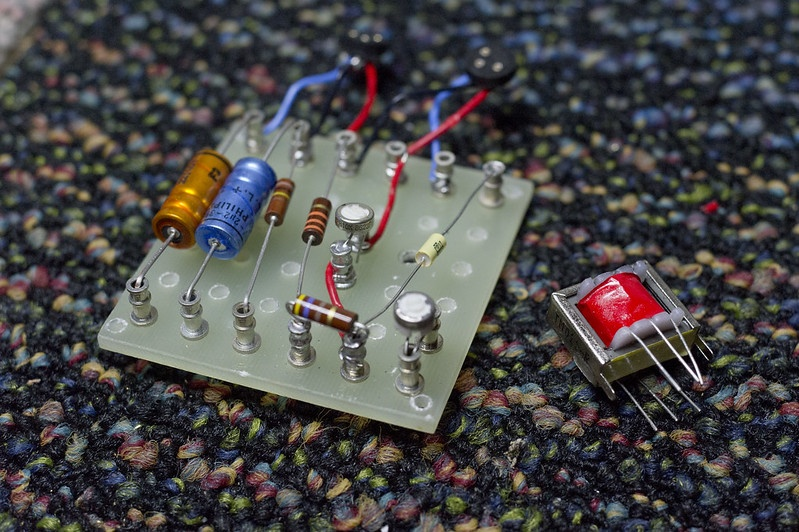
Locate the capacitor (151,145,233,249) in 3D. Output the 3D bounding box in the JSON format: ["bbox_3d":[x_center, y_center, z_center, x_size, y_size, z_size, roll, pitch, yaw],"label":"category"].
[{"bbox_3d":[-0.724,-0.226,2.816,0.167,0.169,0.400,26,48,0],"label":"capacitor"}]

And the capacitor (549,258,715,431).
[{"bbox_3d":[0.783,0.251,2.612,0.408,0.235,0.584,-34,84,-4],"label":"capacitor"}]
